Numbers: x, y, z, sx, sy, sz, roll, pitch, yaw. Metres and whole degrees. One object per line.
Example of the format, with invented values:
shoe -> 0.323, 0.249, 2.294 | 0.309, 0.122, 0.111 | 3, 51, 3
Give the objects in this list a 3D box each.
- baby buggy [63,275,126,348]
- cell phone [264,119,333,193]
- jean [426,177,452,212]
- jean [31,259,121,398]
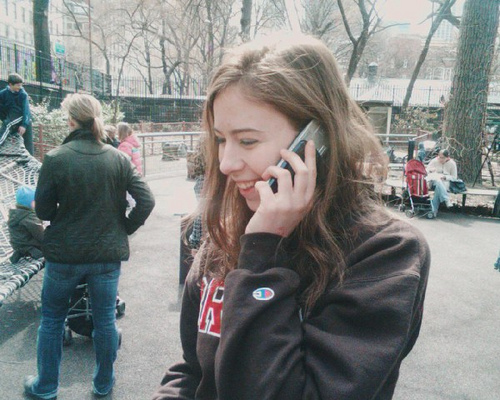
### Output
baby buggy -> -1.887, 1.206, 5.269 | 0.748, 0.938, 0.958 | -3, 17, -23
cell phone -> 0.193, -0.187, 1.862 | 0.127, 0.298, 0.038 | 43, -10, -32
jean -> 4.837, -0.072, 11.598 | 0.540, 1.074, 0.383 | 4, -33, 2
jean -> -1.573, 1.148, 4.069 | 0.806, 1.318, 0.205 | -3, 12, -17
